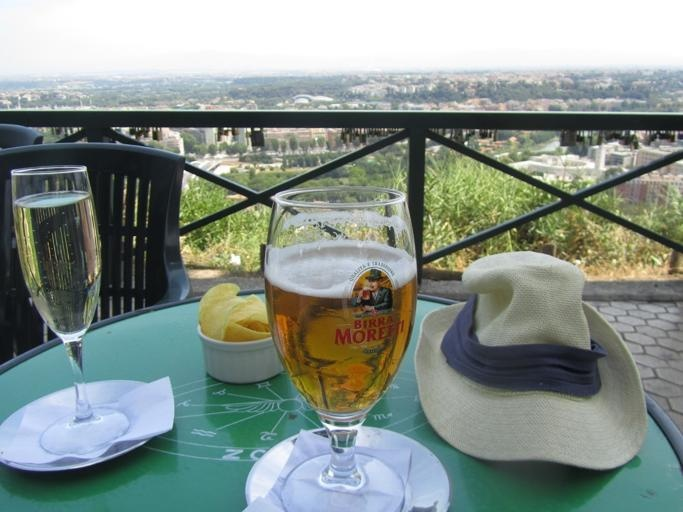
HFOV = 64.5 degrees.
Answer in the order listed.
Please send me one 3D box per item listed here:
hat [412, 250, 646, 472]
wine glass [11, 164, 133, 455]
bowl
[{"bbox_3d":[0.288,0.110,0.889,0.347,0.190,0.471,-2,20,-1],"label":"hat"},{"bbox_3d":[-0.397,0.082,0.789,0.138,0.386,0.142,10,18,39],"label":"wine glass"},{"bbox_3d":[-0.156,0.156,0.927,0.134,0.081,0.116,1,8,22],"label":"bowl"}]
